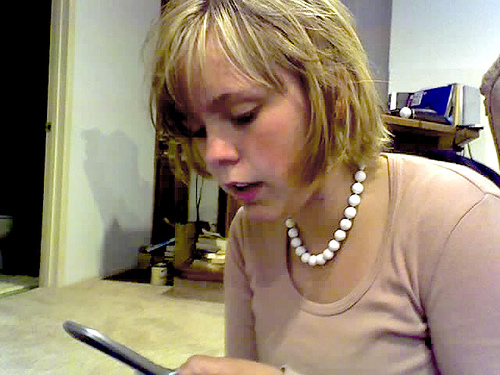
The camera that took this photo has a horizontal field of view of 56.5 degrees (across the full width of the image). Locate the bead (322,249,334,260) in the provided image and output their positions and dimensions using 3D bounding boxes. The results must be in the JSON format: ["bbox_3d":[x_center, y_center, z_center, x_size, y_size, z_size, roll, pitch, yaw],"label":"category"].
[{"bbox_3d":[0.172,0.147,1.020,0.024,0.022,0.008,2,4,9],"label":"bead"}]

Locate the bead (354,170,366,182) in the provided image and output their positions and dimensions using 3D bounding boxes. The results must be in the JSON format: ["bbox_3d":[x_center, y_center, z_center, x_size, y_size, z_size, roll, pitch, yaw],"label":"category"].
[{"bbox_3d":[0.243,-0.023,1.024,0.022,0.023,0.014,7,-13,-2],"label":"bead"}]

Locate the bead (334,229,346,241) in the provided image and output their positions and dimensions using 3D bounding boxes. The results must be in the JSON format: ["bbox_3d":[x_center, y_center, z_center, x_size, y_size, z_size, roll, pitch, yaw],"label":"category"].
[{"bbox_3d":[0.198,0.105,1.019,0.022,0.022,0.011,2,-6,12],"label":"bead"}]

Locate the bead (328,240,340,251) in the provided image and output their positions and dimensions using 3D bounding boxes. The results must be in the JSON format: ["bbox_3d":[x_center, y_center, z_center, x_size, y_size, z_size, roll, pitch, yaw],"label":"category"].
[{"bbox_3d":[0.185,0.127,1.019,0.024,0.022,0.010,2,4,8],"label":"bead"}]

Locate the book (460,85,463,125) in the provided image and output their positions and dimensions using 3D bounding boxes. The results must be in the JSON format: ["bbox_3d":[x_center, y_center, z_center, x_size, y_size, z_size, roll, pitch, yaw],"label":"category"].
[{"bbox_3d":[0.723,-0.278,1.588,0.014,0.133,0.046,3,4,24],"label":"book"}]

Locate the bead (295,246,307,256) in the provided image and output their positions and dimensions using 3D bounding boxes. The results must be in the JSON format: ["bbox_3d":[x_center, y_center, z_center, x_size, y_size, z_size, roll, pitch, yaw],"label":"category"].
[{"bbox_3d":[0.114,0.143,1.048,0.017,0.022,0.008,-2,-7,0],"label":"bead"}]

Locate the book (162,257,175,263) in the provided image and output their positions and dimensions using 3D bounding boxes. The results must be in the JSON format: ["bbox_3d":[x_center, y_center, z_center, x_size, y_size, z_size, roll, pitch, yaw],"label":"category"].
[{"bbox_3d":[-0.520,0.465,2.988,0.048,0.012,0.046,-3,43,6],"label":"book"}]

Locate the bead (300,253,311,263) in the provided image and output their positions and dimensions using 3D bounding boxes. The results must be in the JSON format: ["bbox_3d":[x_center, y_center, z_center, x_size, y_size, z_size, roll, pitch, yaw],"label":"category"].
[{"bbox_3d":[0.125,0.159,1.040,0.019,0.019,0.009,39,1,28],"label":"bead"}]

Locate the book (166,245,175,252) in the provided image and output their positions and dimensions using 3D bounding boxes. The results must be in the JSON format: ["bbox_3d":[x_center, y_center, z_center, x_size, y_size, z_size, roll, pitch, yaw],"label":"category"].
[{"bbox_3d":[-0.516,0.399,3.007,0.048,0.040,0.077,0,4,-16],"label":"book"}]

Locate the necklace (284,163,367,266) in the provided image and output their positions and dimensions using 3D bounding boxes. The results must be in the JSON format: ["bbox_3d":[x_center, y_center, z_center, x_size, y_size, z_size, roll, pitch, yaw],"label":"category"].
[{"bbox_3d":[0.181,0.061,1.040,0.175,0.226,0.034,14,6,-11],"label":"necklace"}]

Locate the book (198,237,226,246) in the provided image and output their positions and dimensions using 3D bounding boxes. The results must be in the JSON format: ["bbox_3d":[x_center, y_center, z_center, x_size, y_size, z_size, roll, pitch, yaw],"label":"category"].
[{"bbox_3d":[-0.230,0.325,2.845,0.093,0.026,0.100,2,-1,10],"label":"book"}]

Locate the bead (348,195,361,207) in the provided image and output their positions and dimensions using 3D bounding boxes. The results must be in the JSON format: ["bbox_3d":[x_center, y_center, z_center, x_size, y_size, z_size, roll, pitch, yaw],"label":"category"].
[{"bbox_3d":[0.229,0.030,1.016,0.021,0.021,0.012,-16,-5,-18],"label":"bead"}]

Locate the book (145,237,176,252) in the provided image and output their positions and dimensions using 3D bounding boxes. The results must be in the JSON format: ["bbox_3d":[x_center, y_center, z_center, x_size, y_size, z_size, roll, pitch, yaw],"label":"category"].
[{"bbox_3d":[-0.616,0.387,3.180,0.189,0.084,0.240,1,4,-10],"label":"book"}]

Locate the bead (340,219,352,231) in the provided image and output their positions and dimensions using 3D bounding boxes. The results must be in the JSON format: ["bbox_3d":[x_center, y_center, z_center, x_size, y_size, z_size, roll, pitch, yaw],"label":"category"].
[{"bbox_3d":[0.209,0.082,1.014,0.021,0.016,0.021,-3,2,-28],"label":"bead"}]

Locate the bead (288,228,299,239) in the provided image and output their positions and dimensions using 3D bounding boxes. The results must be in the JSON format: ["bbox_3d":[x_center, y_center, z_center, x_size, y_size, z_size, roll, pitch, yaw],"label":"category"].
[{"bbox_3d":[0.100,0.105,1.065,0.021,0.011,0.020,-16,16,-8],"label":"bead"}]

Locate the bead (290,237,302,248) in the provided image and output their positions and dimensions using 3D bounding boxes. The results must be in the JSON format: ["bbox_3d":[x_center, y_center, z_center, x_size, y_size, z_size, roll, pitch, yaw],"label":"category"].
[{"bbox_3d":[0.105,0.125,1.058,0.011,0.022,0.022,17,-26,-26],"label":"bead"}]

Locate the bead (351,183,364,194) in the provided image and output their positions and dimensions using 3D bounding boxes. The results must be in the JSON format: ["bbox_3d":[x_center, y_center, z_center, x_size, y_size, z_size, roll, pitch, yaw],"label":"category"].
[{"bbox_3d":[0.237,0.003,1.023,0.027,0.023,0.013,2,4,10],"label":"bead"}]

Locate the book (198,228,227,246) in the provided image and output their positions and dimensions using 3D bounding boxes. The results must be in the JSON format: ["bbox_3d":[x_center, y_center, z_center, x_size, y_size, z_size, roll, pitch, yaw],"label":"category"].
[{"bbox_3d":[-0.227,0.309,2.892,0.239,0.078,0.112,4,5,36],"label":"book"}]
